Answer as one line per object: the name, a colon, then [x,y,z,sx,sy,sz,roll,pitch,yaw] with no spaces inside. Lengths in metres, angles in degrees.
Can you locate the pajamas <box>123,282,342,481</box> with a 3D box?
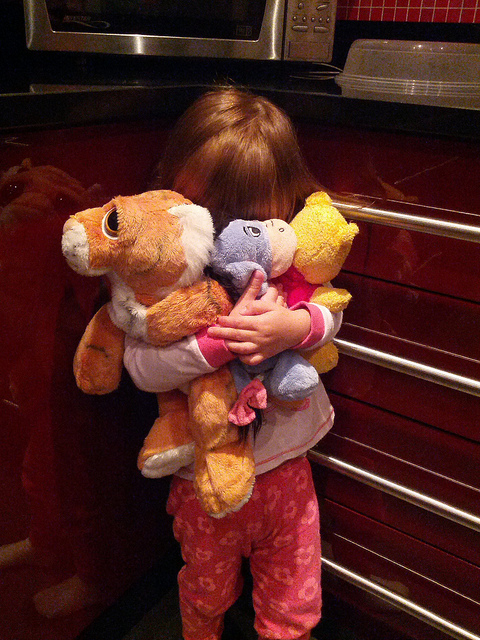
pajamas: [-0.036,0.061,0.770,0.275,0.352,0.204,-8,29,-22]
